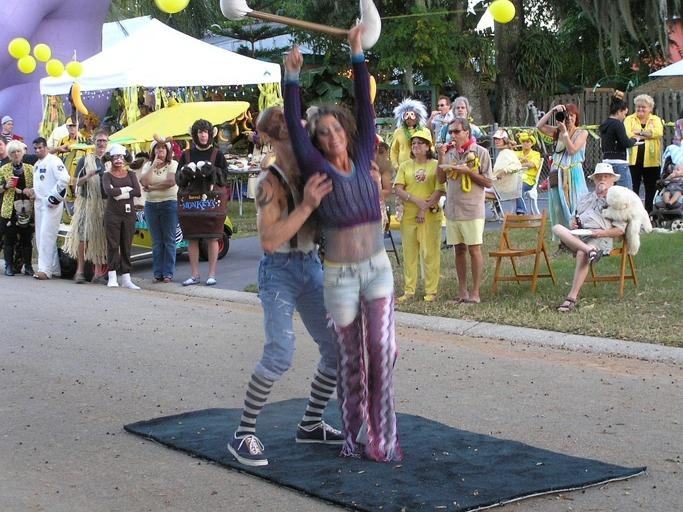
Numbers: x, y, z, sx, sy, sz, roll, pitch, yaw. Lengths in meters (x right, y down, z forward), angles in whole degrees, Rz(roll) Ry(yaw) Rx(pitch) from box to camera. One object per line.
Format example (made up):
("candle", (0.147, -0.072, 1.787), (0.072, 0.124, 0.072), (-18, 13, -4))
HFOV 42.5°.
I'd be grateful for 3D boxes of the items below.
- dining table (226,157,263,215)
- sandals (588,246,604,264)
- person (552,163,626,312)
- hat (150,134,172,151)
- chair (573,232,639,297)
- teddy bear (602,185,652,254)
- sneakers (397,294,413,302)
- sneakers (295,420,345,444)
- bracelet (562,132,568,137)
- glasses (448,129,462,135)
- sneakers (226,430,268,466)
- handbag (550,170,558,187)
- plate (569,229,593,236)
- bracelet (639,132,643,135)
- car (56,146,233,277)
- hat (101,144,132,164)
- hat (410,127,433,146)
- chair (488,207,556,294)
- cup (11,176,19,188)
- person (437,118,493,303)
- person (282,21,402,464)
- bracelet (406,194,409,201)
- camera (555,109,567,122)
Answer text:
("dining table", (-2.552, -1.893, 23.694), (0.975, 1.045, 1.022), (10, -4, -20))
("sandals", (3.065, -0.057, 10.612), (0.100, 0.308, 0.125), (1, 1, -25))
("person", (3.090, -0.291, 10.927), (0.801, 1.724, 0.961), (14, 16, 41))
("hat", (-2.873, -1.790, 13.944), (0.257, 0.206, 0.367), (8, 2, -6))
("chair", (3.373, 0.010, 11.127), (0.599, 0.948, 0.633), (-2, 2, 41))
("teddy bear", (3.533, -0.446, 10.850), (0.536, 0.813, 0.231), (-2, 1, -18))
("sneakers", (0.817, 0.539, 11.455), (0.094, 0.074, 0.175), (-4, 0, 42))
("sneakers", (-0.168, 1.391, 6.943), (0.393, 0.164, 0.154), (0, 1, -3))
("bracelet", (3.191, -1.741, 12.527), (0.066, 0.069, 0.016), (-2, -15, 12))
("glasses", (1.436, -1.561, 11.007), (0.081, 0.037, 0.099), (-3, -7, 36))
("sneakers", (-0.686, 1.447, 6.611), (0.191, 0.202, 0.464), (5, 0, -23))
("handbag", (3.127, -1.144, 12.923), (0.073, 0.203, 0.196), (10, -8, -32))
("plate", (2.965, -0.281, 10.811), (0.100, 0.085, 0.273), (-3, 3, -45))
("bracelet", (5.541, -2.276, 16.221), (0.043, 0.061, 0.018), (-2, -5, 7))
("car", (-3.309, -0.665, 15.704), (2.886, 1.768, 1.665), (-3, 0, -10))
("hat", (-3.451, -1.588, 13.481), (0.270, 0.212, 0.366), (-8, -5, -40))
("hat", (1.053, -1.570, 11.437), (0.255, 0.144, 0.358), (3, 7, -3))
("chair", (2.380, -0.061, 11.569), (0.989, 1.031, 0.808), (-4, 3, -31))
("cup", (-5.426, -1.236, 14.593), (0.149, 0.164, 0.146), (-5, -13, -1))
("person", (1.573, -0.590, 11.108), (0.666, 2.329, 0.495), (-1, 1, 13))
("person", (0.006, -0.078, 6.439), (0.791, 3.211, 0.270), (-2, 1, -23))
("bracelet", (0.853, -0.765, 11.320), (0.071, 0.074, 0.019), (-1, -8, -1))
("camera", (3.120, -1.995, 12.440), (0.123, 0.163, 0.118), (0, 7, 1))
